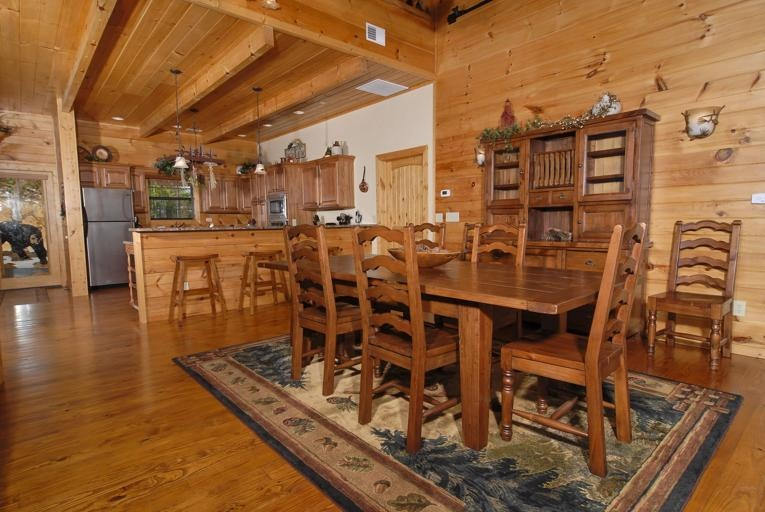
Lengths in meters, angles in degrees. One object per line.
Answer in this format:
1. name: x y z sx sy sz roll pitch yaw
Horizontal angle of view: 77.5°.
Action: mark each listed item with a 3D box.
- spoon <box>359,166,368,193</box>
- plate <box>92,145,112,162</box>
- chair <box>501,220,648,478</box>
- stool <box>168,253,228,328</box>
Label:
1. spoon: -0.324 -1.272 7.948 0.054 0.415 0.192 -9 9 -36
2. plate: -5.112 -1.874 8.683 0.147 0.308 0.327 0 7 22
3. chair: 1.438 0.620 3.532 0.946 1.707 0.692 -8 9 -38
4. stool: -2.451 0.370 6.175 0.681 0.809 0.552 -5 7 -19
